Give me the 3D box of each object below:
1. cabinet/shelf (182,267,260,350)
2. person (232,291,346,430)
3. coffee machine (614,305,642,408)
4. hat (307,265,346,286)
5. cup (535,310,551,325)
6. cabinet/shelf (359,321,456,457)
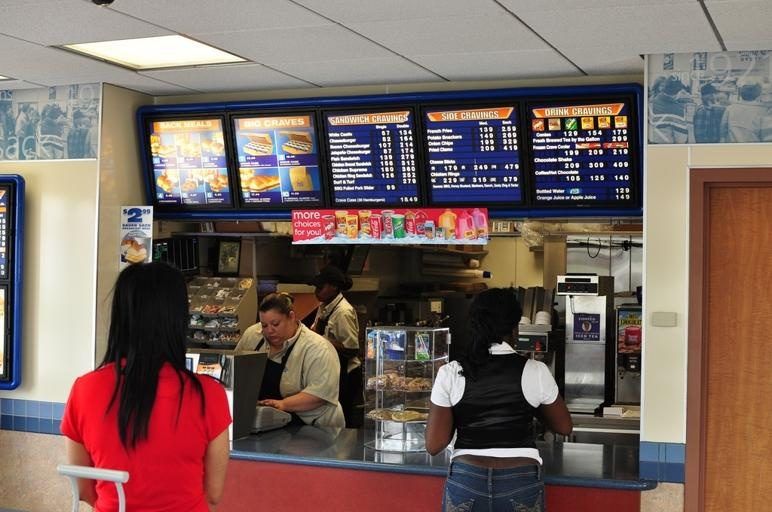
[{"bbox_3d":[-1.498,0.468,6.161,0.723,0.393,0.657,3,15,5],"label":"cabinet/shelf"},{"bbox_3d":[-0.654,0.814,4.999,0.631,1.020,0.374,-2,0,-3],"label":"person"},{"bbox_3d":[1.961,0.820,5.398,0.201,0.720,0.118,-2,0,9],"label":"coffee machine"},{"bbox_3d":[-0.537,0.209,6.640,0.347,0.207,0.214,-1,0,-19],"label":"hat"},{"bbox_3d":[1.354,0.544,5.787,0.129,0.089,0.124,0,-7,0],"label":"cup"},{"bbox_3d":[0.098,0.904,4.526,0.874,1.021,0.770,1,-5,-3],"label":"cabinet/shelf"}]
